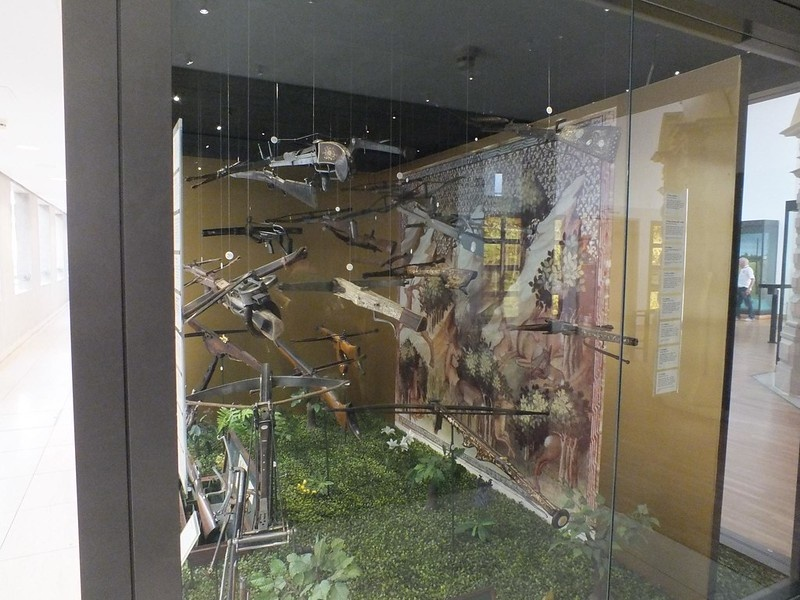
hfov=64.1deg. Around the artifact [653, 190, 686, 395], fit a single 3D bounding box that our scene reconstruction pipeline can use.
[{"bbox_3d":[0.988,-0.026,2.327,0.163,0.732,0.050,-7,10,-33],"label":"artifact"}]
